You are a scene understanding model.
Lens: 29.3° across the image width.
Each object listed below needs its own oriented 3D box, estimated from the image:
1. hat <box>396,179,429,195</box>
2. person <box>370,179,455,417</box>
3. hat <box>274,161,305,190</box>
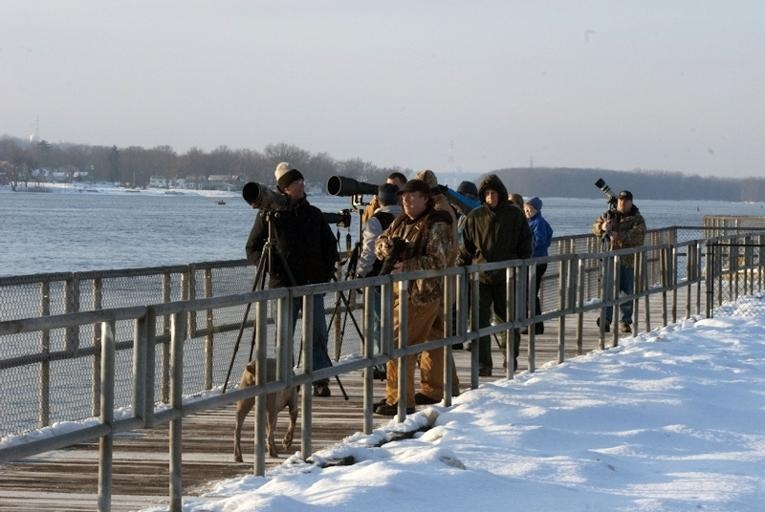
[{"bbox_3d":[0.354,-0.724,15.951,0.325,0.153,0.193,0,11,1],"label":"hat"},{"bbox_3d":[0.490,0.440,16.123,1.001,2.492,0.957,1,1,38],"label":"person"},{"bbox_3d":[-1.028,-0.863,16.203,0.285,0.321,0.259,-1,11,-3],"label":"hat"}]
